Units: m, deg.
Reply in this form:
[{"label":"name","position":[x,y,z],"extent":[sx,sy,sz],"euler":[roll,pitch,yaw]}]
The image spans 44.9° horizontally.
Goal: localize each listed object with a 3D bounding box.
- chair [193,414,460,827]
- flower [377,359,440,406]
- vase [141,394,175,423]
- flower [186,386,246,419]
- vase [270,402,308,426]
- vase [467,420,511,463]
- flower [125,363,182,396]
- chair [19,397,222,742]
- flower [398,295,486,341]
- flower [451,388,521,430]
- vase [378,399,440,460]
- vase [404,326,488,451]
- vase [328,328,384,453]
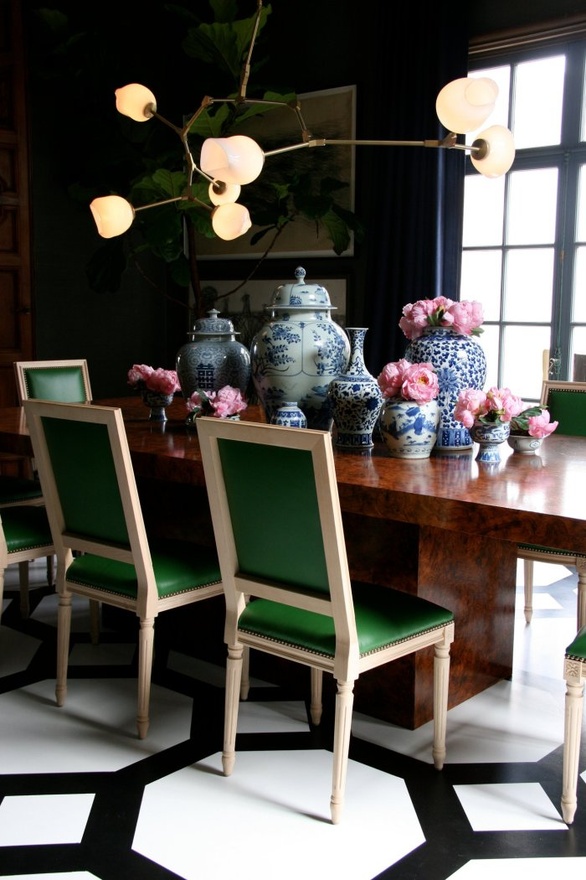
[{"label":"chair","position":[0.067,0.316,1.400],"extent":[0.372,0.684,0.414],"euler":[6,7,37]},{"label":"flower","position":[0.267,-0.130,1.646],"extent":[0.117,0.112,0.077],"euler":[4,-7,-6]},{"label":"vase","position":[-0.469,-0.111,2.478],"extent":[0.105,0.115,0.102],"euler":[2,6,4]},{"label":"flower","position":[-0.232,-0.102,2.024],"extent":[0.131,0.060,0.125],"euler":[3,7,25]},{"label":"vase","position":[-0.004,-0.058,1.808],"extent":[0.076,0.071,0.076],"euler":[0,3,-5]},{"label":"vase","position":[0.467,0.000,1.709],"extent":[0.094,0.102,0.095],"euler":[-5,7,-31]},{"label":"flower","position":[-0.489,-0.203,2.432],"extent":[0.126,0.065,0.129],"euler":[18,-1,-21]},{"label":"chair","position":[-0.437,0.308,1.773],"extent":[0.420,0.804,0.362],"euler":[2,3,39]},{"label":"flower","position":[0.402,-0.300,1.851],"extent":[0.143,0.087,0.144],"euler":[3,9,43]},{"label":"flower","position":[0.448,-0.060,1.646],"extent":[0.108,0.075,0.109],"euler":[4,-1,37]},{"label":"vase","position":[0.283,-0.029,1.715],"extent":[0.145,0.135,0.136],"euler":[-8,12,-38]},{"label":"vase","position":[0.395,-0.127,1.884],"extent":[0.196,0.299,0.195],"euler":[-1,3,44]},{"label":"vase","position":[0.159,-0.135,1.893],"extent":[0.151,0.304,0.145],"euler":[1,12,-15]}]
